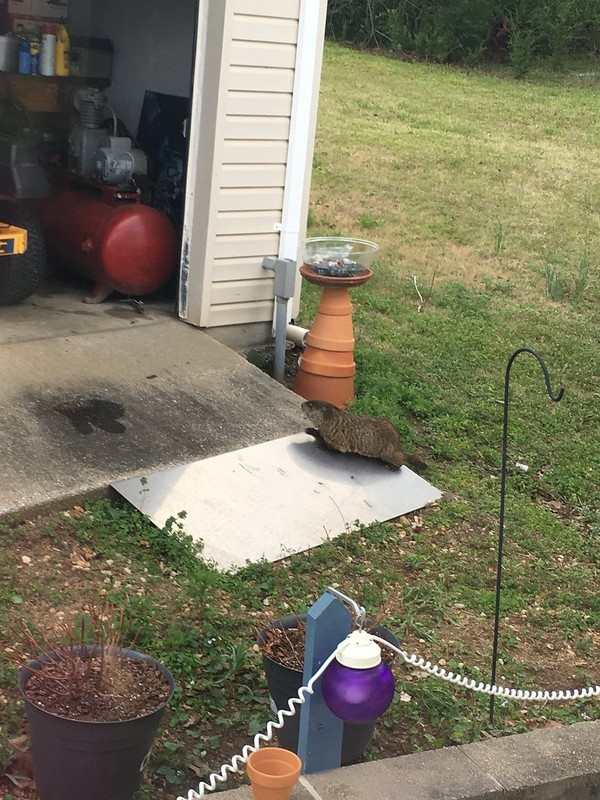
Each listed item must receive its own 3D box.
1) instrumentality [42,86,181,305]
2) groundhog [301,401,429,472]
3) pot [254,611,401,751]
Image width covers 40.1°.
[{"bbox_3d":[-1.632,-1.762,7.278,0.867,1.626,1.996,-8,25,-28],"label":"instrumentality"},{"bbox_3d":[0.349,0.206,5.312,0.952,0.307,0.288,18,36,-8],"label":"groundhog"},{"bbox_3d":[0.069,1.088,2.811,0.352,0.275,0.378,15,-20,5],"label":"pot"}]
